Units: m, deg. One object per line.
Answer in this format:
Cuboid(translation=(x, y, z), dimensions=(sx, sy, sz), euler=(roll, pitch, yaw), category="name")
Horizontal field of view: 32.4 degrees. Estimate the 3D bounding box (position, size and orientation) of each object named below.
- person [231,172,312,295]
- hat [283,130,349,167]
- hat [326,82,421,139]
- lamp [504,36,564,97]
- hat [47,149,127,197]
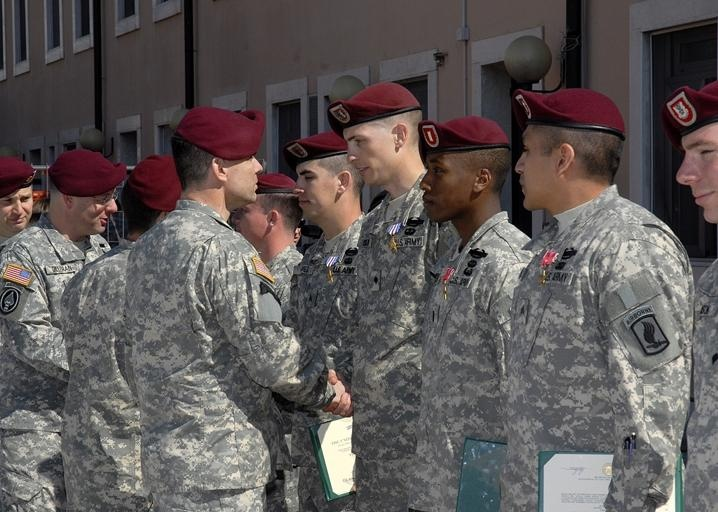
Cuboid(translation=(-0.649, -0.193, 9.326), dimensions=(0.519, 0.961, 0.627), euler=(-3, 1, 11), category="person")
Cuboid(translation=(-0.301, -0.754, 8.645), dimensions=(0.336, 0.115, 0.278), euler=(-7, 0, -11), category="hat")
Cuboid(translation=(0.111, -0.982, 8.092), dimensions=(0.479, 0.169, 0.366), euler=(-15, 5, -29), category="hat")
Cuboid(translation=(1.578, -1.826, 12.097), dimensions=(0.723, 0.638, 0.542), euler=(1, 0, -4), category="lamp")
Cuboid(translation=(-1.914, -0.593, 8.799), dimensions=(0.388, 0.187, 0.398), euler=(-1, 18, -28), category="hat")
